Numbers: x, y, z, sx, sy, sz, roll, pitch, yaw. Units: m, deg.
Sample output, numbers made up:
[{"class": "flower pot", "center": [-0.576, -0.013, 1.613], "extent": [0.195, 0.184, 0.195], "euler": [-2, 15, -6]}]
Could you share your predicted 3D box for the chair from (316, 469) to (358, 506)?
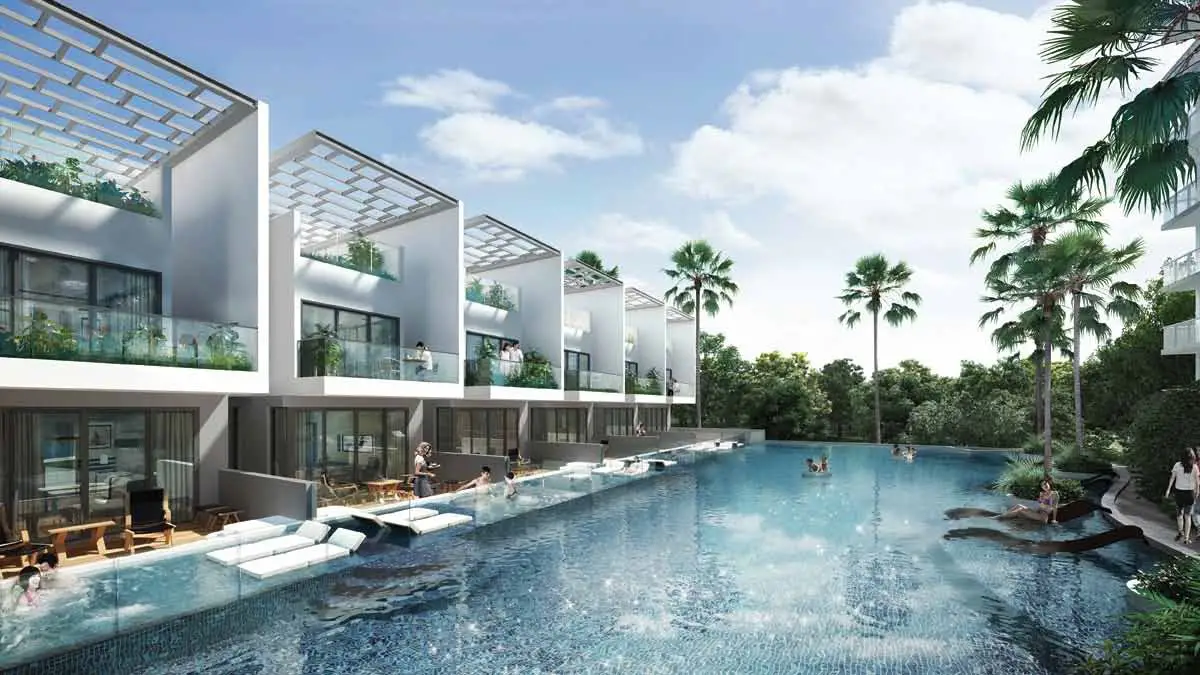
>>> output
[{"class": "chair", "center": [-11.132, 6.283, 31.356], "extent": [1.664, 1.394, 2.285], "euler": [3, -10, -20]}]

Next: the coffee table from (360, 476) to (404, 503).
[{"class": "coffee table", "center": [-9.419, 6.657, 32.204], "extent": [0.876, 0.702, 1.541], "euler": [-2, -6, 24]}]

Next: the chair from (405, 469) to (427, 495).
[{"class": "chair", "center": [-8.055, 6.494, 32.707], "extent": [0.836, 0.938, 2.471], "euler": [3, -10, -18]}]

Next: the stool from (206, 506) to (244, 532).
[{"class": "stool", "center": [-14.656, 7.006, 28.741], "extent": [1.320, 0.836, 1.089], "euler": [3, -10, -20]}]

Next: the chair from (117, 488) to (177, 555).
[{"class": "chair", "center": [-16.431, 6.601, 26.878], "extent": [1.530, 2.137, 1.061], "euler": [5, -11, -30]}]
